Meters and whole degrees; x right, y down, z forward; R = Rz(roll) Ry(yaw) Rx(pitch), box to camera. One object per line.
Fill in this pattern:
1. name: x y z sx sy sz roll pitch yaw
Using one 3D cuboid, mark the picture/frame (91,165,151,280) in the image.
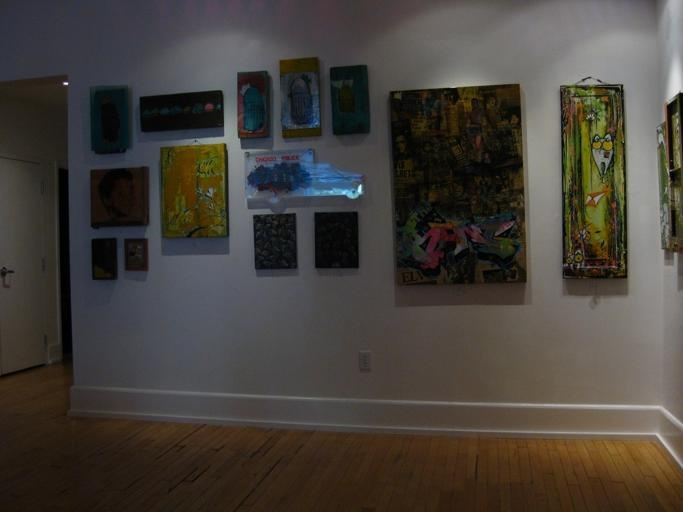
1. picture/frame: -1.722 -0.254 4.238 0.466 0.841 0.179 1 12 9
